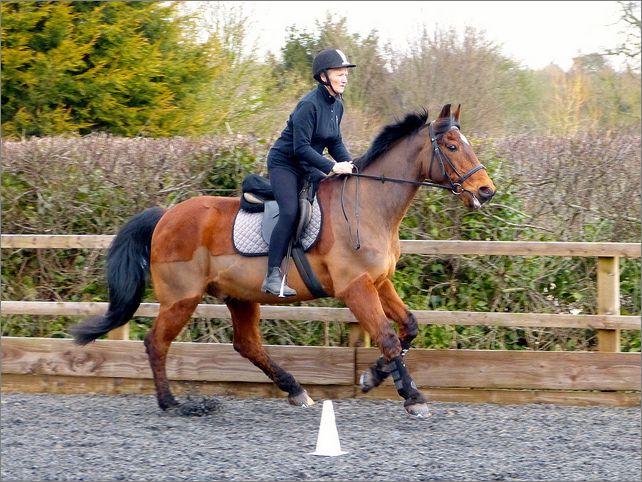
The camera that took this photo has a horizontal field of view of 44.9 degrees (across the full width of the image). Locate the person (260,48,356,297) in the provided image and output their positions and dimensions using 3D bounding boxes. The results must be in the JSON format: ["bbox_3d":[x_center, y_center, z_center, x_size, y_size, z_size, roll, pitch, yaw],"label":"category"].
[{"bbox_3d":[-0.149,-0.634,7.239,0.989,2.289,0.505,-4,8,-18],"label":"person"}]

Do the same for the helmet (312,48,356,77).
[{"bbox_3d":[0.053,-1.661,7.148,0.409,0.135,0.275,-10,-2,27],"label":"helmet"}]
